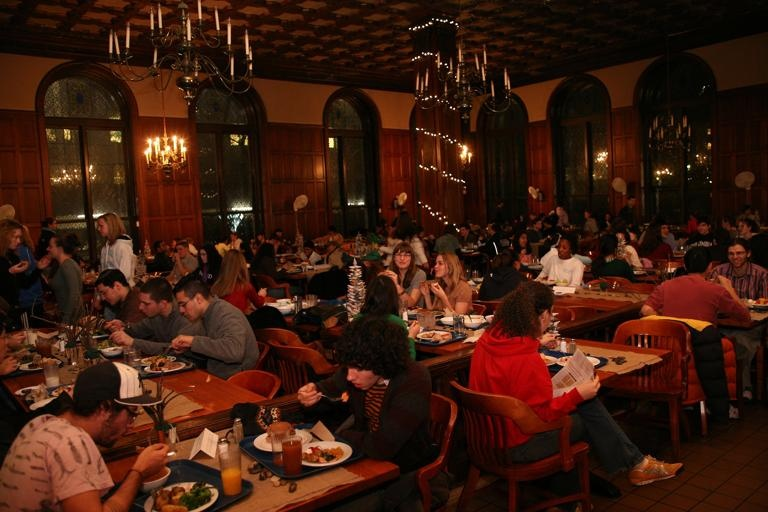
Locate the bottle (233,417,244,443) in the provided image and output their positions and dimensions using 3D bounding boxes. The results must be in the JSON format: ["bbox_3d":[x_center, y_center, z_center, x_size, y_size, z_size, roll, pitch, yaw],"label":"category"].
[{"bbox_3d":[-0.829,0.985,3.101,0.061,0.137,0.150,-4,15,-17],"label":"bottle"}]

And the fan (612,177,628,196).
[{"bbox_3d":[6.362,-1.875,14.707,0.430,0.465,0.506,7,16,23],"label":"fan"}]

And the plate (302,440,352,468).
[{"bbox_3d":[-0.304,1.061,2.932,0.271,0.046,0.206,-1,15,-8],"label":"plate"}]

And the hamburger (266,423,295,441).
[{"bbox_3d":[-0.552,0.919,2.926,0.109,0.081,0.112,0,-3,2],"label":"hamburger"}]

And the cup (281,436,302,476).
[{"bbox_3d":[-0.483,1.007,2.843,0.102,0.168,0.224,-2,15,-10],"label":"cup"}]

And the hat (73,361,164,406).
[{"bbox_3d":[-1.380,0.659,2.816,0.444,0.220,0.322,7,-14,-19],"label":"hat"}]

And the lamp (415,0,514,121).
[{"bbox_3d":[1.615,-4.046,11.259,1.728,2.381,1.652,-4,3,-26],"label":"lamp"}]

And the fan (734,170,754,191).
[{"bbox_3d":[8.705,-1.803,13.146,0.421,0.469,0.453,10,17,32],"label":"fan"}]

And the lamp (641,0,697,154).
[{"bbox_3d":[6.831,-3.944,13.166,0.744,2.497,0.722,5,18,25],"label":"lamp"}]

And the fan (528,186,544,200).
[{"bbox_3d":[4.501,-1.856,16.274,0.474,0.427,0.430,12,18,37],"label":"fan"}]
